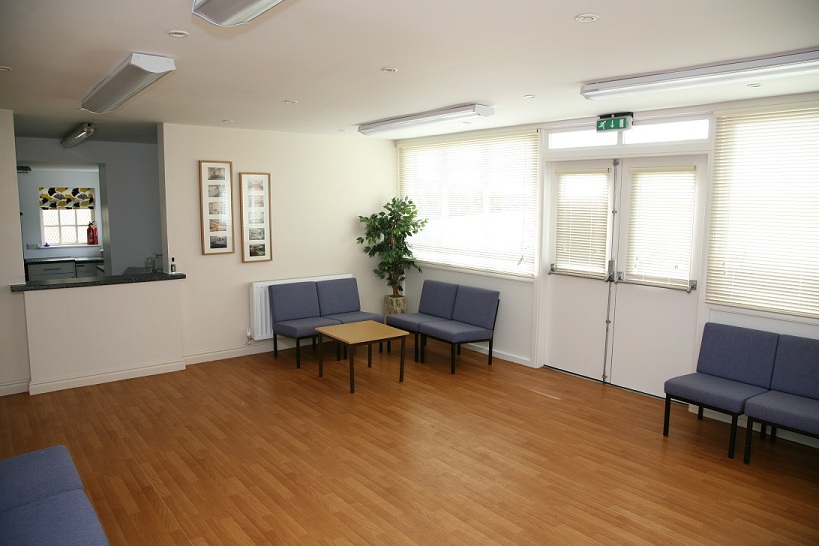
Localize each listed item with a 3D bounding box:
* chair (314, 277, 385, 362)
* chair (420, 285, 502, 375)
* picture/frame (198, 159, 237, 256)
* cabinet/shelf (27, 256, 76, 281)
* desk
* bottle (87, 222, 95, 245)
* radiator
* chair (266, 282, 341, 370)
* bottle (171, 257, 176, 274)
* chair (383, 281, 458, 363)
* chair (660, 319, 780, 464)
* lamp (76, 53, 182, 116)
[{"bbox_3d":[-1.157,0.693,8.934,1.193,1.173,1.191,-3,4,-35],"label":"chair"},{"bbox_3d":[0.507,0.812,8.273,1.382,1.271,1.155,9,8,37],"label":"chair"},{"bbox_3d":[-3.021,-1.030,8.114,0.568,1.458,0.039,2,6,7],"label":"picture/frame"},{"bbox_3d":[-7.399,-0.095,10.649,0.554,0.487,0.354,-3,7,-40],"label":"cabinet/shelf"},{"bbox_3d":[-0.744,1.248,7.677,1.075,0.760,1.050,-7,15,-34],"label":"desk"},{"bbox_3d":[-7.488,-0.945,12.155,0.180,0.491,0.075,-7,10,-41],"label":"bottle"},{"bbox_3d":[-1.869,0.588,8.422,1.290,0.684,0.125,-6,9,-29],"label":"radiator"},{"bbox_3d":[-1.698,0.768,8.400,0.920,1.168,0.941,7,9,39],"label":"chair"},{"bbox_3d":[-3.594,-0.135,7.854,0.067,0.218,0.109,-3,7,-14],"label":"bottle"},{"bbox_3d":[0.247,0.769,8.667,1.075,1.115,0.984,-6,12,-27],"label":"chair"},{"bbox_3d":[3.624,1.302,6.010,1.103,1.216,1.149,4,9,32],"label":"chair"},{"bbox_3d":[-2.829,-2.012,5.230,1.786,0.469,0.194,15,33,31],"label":"lamp"}]
